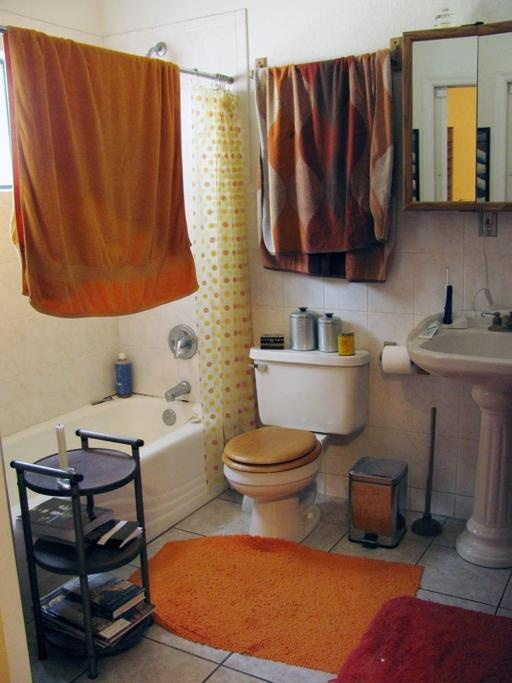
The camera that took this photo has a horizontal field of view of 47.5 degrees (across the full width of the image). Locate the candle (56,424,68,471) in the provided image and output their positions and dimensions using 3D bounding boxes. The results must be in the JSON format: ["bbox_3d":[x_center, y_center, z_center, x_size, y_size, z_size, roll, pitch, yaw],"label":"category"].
[{"bbox_3d":[-0.530,0.276,1.574,0.022,0.133,0.188,-5,9,-20],"label":"candle"}]

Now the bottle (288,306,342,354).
[{"bbox_3d":[0.229,-0.055,2.376,0.210,0.174,0.133,13,17,41],"label":"bottle"}]

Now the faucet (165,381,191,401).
[{"bbox_3d":[-0.376,0.235,2.806,0.070,0.070,0.127,-11,8,33],"label":"faucet"}]

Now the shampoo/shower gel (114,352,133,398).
[{"bbox_3d":[-0.687,0.172,2.991,0.102,0.223,0.074,-4,9,-15],"label":"shampoo/shower gel"}]

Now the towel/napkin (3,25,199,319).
[{"bbox_3d":[-0.429,-0.474,1.750,0.085,0.794,0.730,3,10,27],"label":"towel/napkin"}]

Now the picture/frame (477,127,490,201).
[{"bbox_3d":[0.745,-0.579,1.916,0.047,0.241,0.018,0,1,3],"label":"picture/frame"}]

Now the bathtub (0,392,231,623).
[{"bbox_3d":[-0.535,0.639,2.560,0.460,0.326,0.901,4,10,24],"label":"bathtub"}]

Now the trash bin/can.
[{"bbox_3d":[0.469,0.608,2.315,0.215,0.332,0.284,3,10,22],"label":"trash bin/can"}]

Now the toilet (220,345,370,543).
[{"bbox_3d":[0.137,0.418,2.337,0.449,0.736,0.641,4,9,33],"label":"toilet"}]

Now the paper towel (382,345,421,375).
[{"bbox_3d":[0.548,0.061,2.227,0.121,0.114,0.110,-3,54,22],"label":"paper towel"}]
